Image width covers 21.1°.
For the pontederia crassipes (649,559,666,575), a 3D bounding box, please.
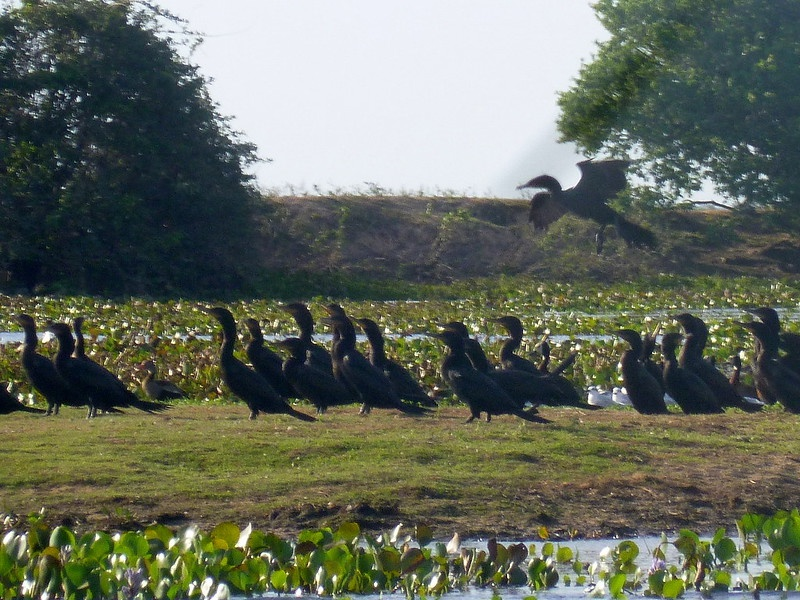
[{"bbox_3d":[5.562,5.580,46.969,0.327,0.301,0.390,-3,-9,15],"label":"pontederia crassipes"}]
